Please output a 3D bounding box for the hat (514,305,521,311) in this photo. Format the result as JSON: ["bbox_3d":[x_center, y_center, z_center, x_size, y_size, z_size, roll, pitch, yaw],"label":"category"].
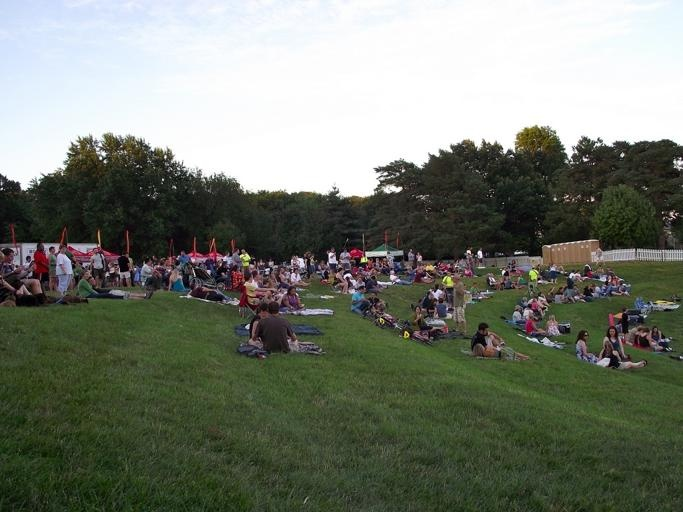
[{"bbox_3d":[9.292,2.715,28.933,0.410,0.261,0.632,-3,-5,6],"label":"hat"}]

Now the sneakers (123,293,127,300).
[{"bbox_3d":[-7.569,1.375,19.254,0.134,0.183,0.076,6,-8,-34],"label":"sneakers"}]

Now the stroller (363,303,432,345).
[{"bbox_3d":[2.190,2.547,21.011,2.317,1.347,1.136,43,-12,16],"label":"stroller"}]

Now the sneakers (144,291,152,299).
[{"bbox_3d":[-7.071,1.398,20.111,0.191,0.354,0.263,2,-3,35],"label":"sneakers"}]
